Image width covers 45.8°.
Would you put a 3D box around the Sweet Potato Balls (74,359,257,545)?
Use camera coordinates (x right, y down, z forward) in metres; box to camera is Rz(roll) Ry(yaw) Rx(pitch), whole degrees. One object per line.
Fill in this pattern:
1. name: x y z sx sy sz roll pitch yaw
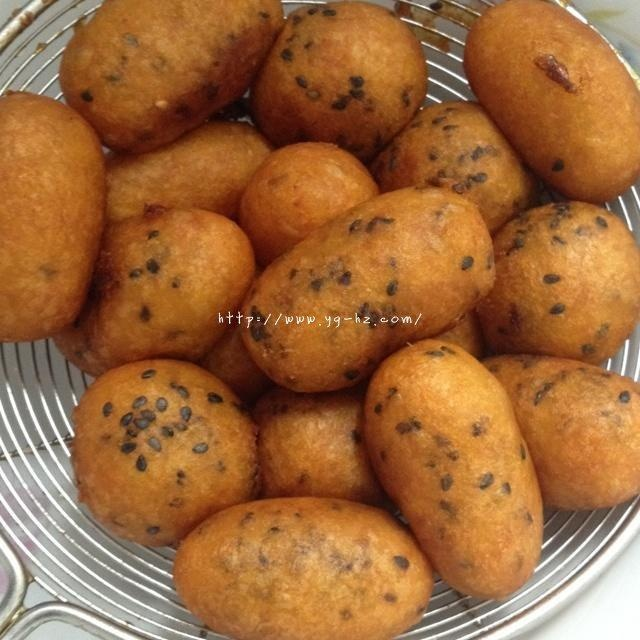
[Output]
1. Sweet Potato Balls: -0.162 0.127 0.735 0.164 0.096 0.171 4 77 -15

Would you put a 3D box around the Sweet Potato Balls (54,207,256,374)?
1. Sweet Potato Balls: -0.146 -0.043 0.732 0.180 0.133 0.087 -32 35 -11

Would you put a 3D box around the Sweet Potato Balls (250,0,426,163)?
1. Sweet Potato Balls: 0.003 -0.255 0.831 0.185 0.150 0.093 -28 27 26

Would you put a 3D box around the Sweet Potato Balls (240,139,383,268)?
1. Sweet Potato Balls: -0.017 -0.112 0.751 0.137 0.118 0.113 20 102 9

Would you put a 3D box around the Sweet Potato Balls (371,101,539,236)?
1. Sweet Potato Balls: 0.155 -0.156 0.821 0.158 0.085 0.136 -36 89 20

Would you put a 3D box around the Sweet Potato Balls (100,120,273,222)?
1. Sweet Potato Balls: -0.129 -0.146 0.793 0.168 0.072 0.085 -20 29 -8

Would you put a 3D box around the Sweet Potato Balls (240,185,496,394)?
1. Sweet Potato Balls: 0.041 -0.028 0.661 0.219 0.123 0.117 -25 62 -18

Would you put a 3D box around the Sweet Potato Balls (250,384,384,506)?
1. Sweet Potato Balls: -0.007 0.117 0.741 0.109 0.067 0.105 0 85 1

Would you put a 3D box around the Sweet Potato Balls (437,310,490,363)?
1. Sweet Potato Balls: 0.154 0.022 0.784 0.037 0.066 0.053 -40 77 8
